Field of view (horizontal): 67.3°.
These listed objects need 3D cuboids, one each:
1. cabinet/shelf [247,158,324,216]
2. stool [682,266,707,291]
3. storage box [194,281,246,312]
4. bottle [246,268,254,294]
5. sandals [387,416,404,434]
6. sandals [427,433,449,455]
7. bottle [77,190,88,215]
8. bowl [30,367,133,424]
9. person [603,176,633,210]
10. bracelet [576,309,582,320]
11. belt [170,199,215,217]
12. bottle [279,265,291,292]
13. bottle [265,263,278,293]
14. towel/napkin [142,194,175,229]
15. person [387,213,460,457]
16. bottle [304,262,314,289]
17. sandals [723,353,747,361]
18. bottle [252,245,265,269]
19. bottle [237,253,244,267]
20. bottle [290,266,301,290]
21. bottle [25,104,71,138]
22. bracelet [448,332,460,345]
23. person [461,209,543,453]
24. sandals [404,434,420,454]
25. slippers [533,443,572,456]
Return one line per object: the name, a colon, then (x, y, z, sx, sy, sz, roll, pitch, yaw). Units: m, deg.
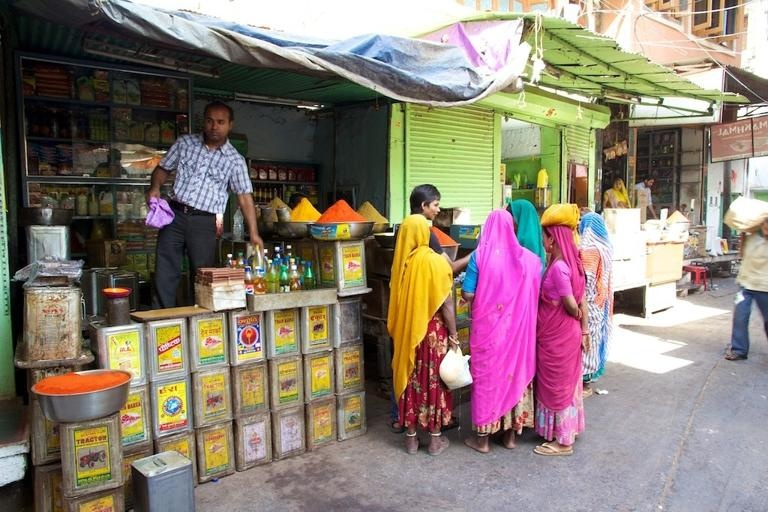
cabinet/shelf: (-1.581, -1.091, 8.964, 1.339, 1.190, 0.382, -2, 1, -38)
stool: (6.796, 0.486, 12.634, 0.505, 0.625, 0.494, -6, 8, -21)
storage box: (-1.523, 0.343, 5.321, 0.304, 0.178, 0.299, -2, 6, -32)
bottle: (-1.282, 0.213, 5.478, 0.085, 0.234, 0.210, -6, 7, -12)
sandals: (0.125, 1.776, 6.028, 0.085, 0.103, 0.268, 4, -13, -19)
sandals: (0.526, 1.829, 5.710, 0.131, 0.187, 0.284, 2, 10, 23)
bottle: (-3.923, -0.676, 7.498, 0.152, 0.265, 0.073, -8, 8, -27)
bowl: (-2.336, 1.071, 4.494, 0.519, 0.193, 0.505, 3, 1, 0)
person: (5.267, -1.426, 13.039, 0.471, 0.623, 0.937, -1, 7, 25)
bracelet: (1.879, 0.562, 5.562, 0.037, 0.089, 0.078, -1, -7, 3)
belt: (-1.955, -0.493, 5.866, 0.411, 0.180, 0.135, -6, 7, -18)
bottle: (-0.986, 0.201, 5.683, 0.113, 0.249, 0.172, -5, 7, -10)
bottle: (-1.079, 0.200, 5.555, 0.130, 0.275, 0.102, -6, 7, -17)
towel/napkin: (-2.270, -0.443, 5.794, 0.269, 0.300, 0.131, -9, -31, -29)
person: (0.374, 0.764, 5.635, 0.666, 2.321, 0.366, -4, 7, 4)
bottle: (-0.765, 0.182, 5.805, 0.117, 0.272, 0.093, -6, 7, -11)
sandals: (4.848, 1.380, 7.921, 0.334, 0.127, 0.111, 1, -1, 20)
bottle: (-1.232, 0.002, 5.673, 0.102, 0.215, 0.304, -6, 7, -11)
bottle: (-1.436, 0.039, 5.750, 0.071, 0.125, 0.188, -6, 7, -14)
bottle: (-0.879, 0.206, 5.654, 0.097, 0.241, 0.128, -6, 7, -10)
bottle: (-4.263, -1.720, 7.327, 0.523, 0.397, 0.106, -9, 8, -37)
bracelet: (0.679, 0.807, 5.614, 0.137, 0.127, 0.083, -9, -7, 35)
person: (1.153, 0.731, 5.636, 0.793, 2.358, 0.260, -6, 7, -14)
sandals: (0.272, 1.837, 5.637, 0.092, 0.153, 0.231, 0, 2, 5)
slippers: (1.668, 1.889, 5.647, 0.289, 0.073, 0.150, 2, 1, 6)
